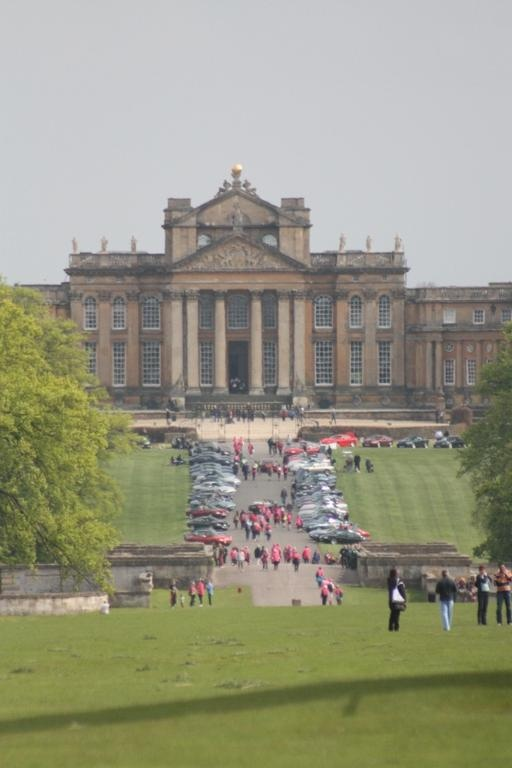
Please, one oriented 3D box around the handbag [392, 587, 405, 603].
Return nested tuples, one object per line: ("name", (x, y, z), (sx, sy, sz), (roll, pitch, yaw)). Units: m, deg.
("handbag", (3.546, 5.354, 58.192), (0.316, 0.601, 0.291), (4, -10, -14))
